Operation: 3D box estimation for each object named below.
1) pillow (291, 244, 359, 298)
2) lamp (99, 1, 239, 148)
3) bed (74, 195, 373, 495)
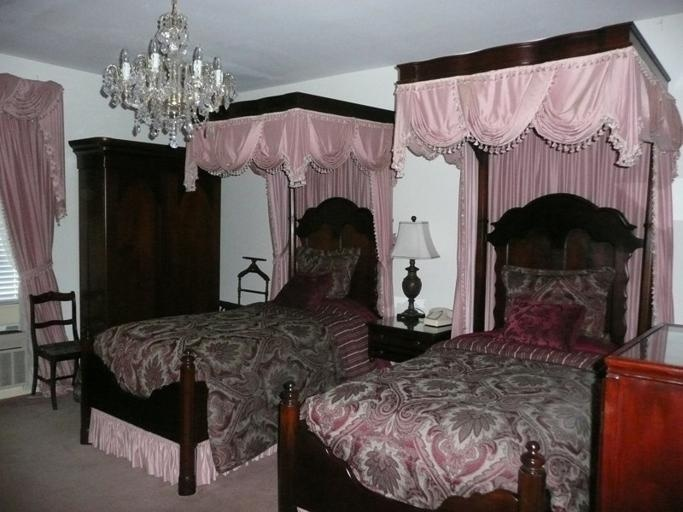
[{"bbox_3d":[-0.118,0.105,6.220,0.536,0.556,0.133,6,-17,34],"label":"pillow"},{"bbox_3d":[-1.261,-1.374,4.499,0.947,1.135,0.473,0,4,-19],"label":"lamp"},{"bbox_3d":[-0.906,0.599,5.916,1.793,2.230,2.666,2,2,40],"label":"bed"}]
